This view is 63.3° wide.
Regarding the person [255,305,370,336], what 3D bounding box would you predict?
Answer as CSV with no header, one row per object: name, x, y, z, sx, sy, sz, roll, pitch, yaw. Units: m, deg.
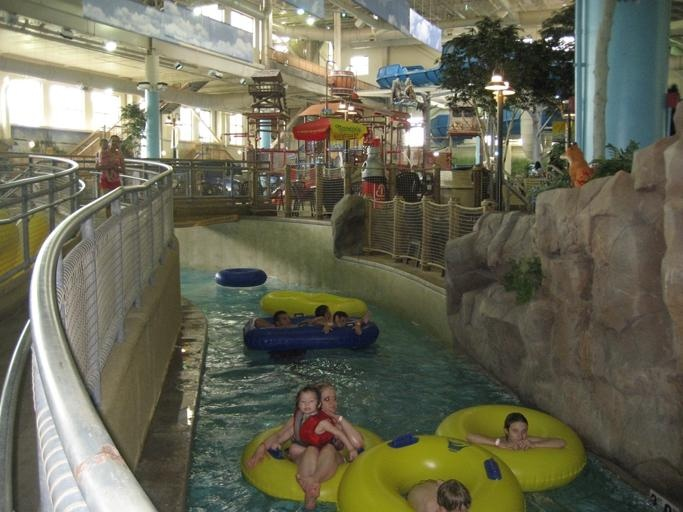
person,-0.564,1.209,10.880,2.224,0.437,0.789,1,8,-1

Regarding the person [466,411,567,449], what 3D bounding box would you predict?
person,1.953,1.928,6.186,1.062,0.384,0.241,2,8,7

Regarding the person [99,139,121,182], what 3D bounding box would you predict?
person,-4.807,-1.989,11.432,0.438,0.863,0.557,-4,9,-31

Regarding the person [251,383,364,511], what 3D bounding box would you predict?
person,-0.336,1.937,5.908,1.044,0.701,1.090,2,7,15
